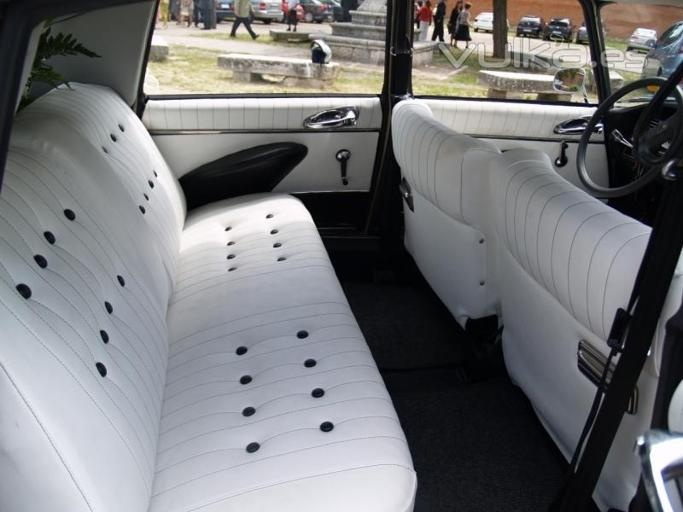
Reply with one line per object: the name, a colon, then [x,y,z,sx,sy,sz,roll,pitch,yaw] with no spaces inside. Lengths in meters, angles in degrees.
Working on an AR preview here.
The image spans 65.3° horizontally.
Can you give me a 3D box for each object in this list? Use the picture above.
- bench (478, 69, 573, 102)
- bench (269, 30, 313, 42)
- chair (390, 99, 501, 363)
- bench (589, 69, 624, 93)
bench: [1.167,-1.135,3.461,0.394,0.165,0.894,2,27,2]
bench: [-0.358,-1.614,3.930,0.366,0.088,0.301,-11,29,-22]
chair: [0.556,-0.242,2.510,0.466,0.889,0.902,-14,28,-13]
bench: [1.501,-0.987,3.045,0.201,0.137,0.081,17,29,29]
